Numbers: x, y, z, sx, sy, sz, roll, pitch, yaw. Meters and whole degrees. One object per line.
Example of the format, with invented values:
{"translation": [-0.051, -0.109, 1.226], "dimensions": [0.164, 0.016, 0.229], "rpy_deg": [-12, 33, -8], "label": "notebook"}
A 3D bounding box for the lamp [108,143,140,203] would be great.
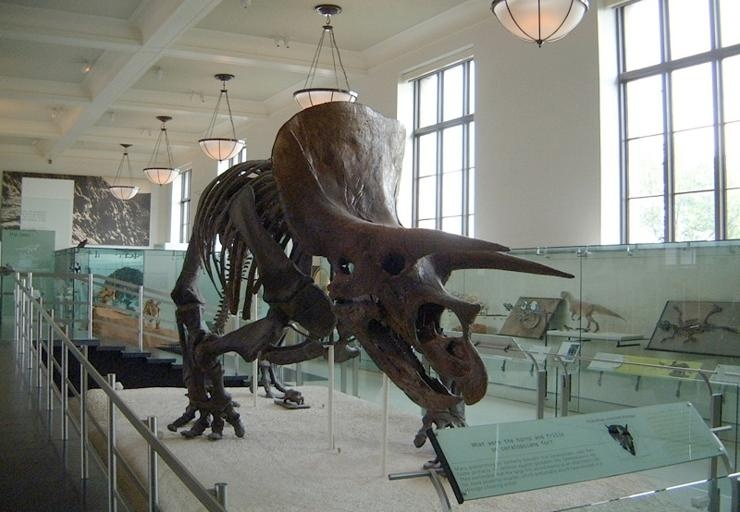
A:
{"translation": [-7.257, -2.492, 16.404], "dimensions": [0.788, 1.608, 0.767], "rpy_deg": [8, 9, 14], "label": "lamp"}
